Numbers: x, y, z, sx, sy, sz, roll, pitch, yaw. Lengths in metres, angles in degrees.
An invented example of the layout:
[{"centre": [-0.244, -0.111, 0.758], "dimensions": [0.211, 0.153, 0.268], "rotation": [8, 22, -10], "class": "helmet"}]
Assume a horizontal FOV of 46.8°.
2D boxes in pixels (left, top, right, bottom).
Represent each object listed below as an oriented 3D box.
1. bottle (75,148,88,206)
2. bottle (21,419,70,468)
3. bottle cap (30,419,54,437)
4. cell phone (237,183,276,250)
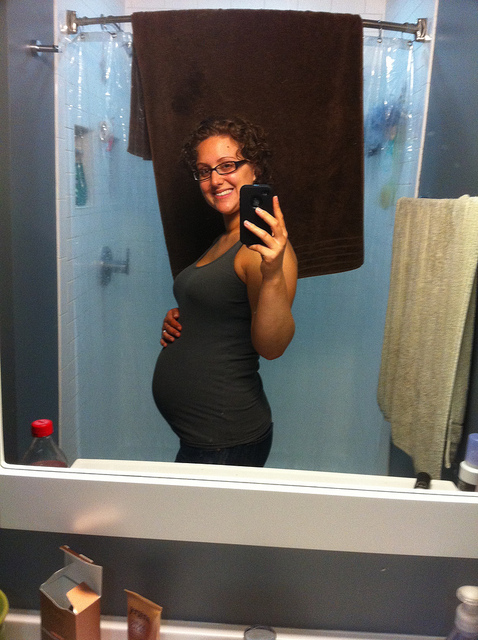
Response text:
[{"centre": [-0.253, -0.231, 0.900], "dimensions": [0.031, 0.094, 0.010], "rotation": [11, 16, 28], "class": "bottle"}, {"centre": [-0.346, 0.231, 0.988], "dimensions": [0.069, 0.109, 0.056], "rotation": [2, 10, 7], "class": "bottle"}, {"centre": [-0.346, 0.190, 0.970], "dimensions": [0.032, 0.021, 0.032], "rotation": [2, 1, 2], "class": "bottle cap"}, {"centre": [0.025, -0.155, 0.824], "dimensions": [0.054, 0.091, 0.060], "rotation": [5, 12, 2], "class": "cell phone"}]
